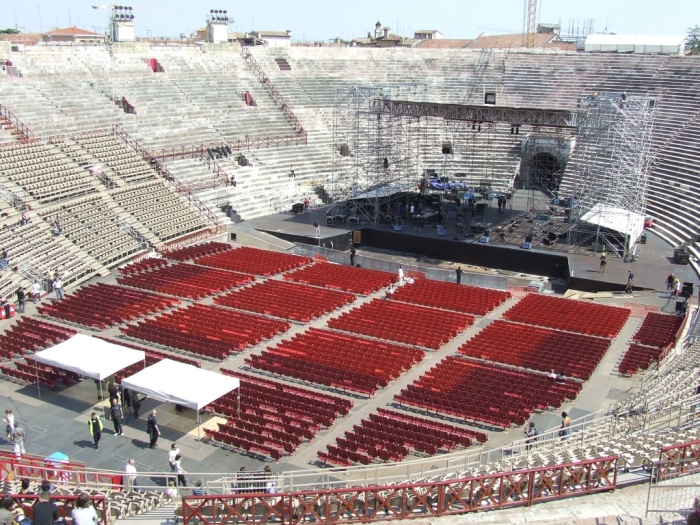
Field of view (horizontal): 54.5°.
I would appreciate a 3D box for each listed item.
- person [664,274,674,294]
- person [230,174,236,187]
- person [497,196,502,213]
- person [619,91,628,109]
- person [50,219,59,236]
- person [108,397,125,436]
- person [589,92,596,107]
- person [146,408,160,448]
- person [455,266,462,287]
[{"bbox_3d":[19.211,1.271,40.498,0.421,1.077,0.917,9,18,23],"label":"person"},{"bbox_3d":[-9.891,-6.880,57.461,0.580,0.784,1.047,-1,16,-9],"label":"person"},{"bbox_3d":[13.183,-4.965,59.196,0.433,1.037,0.925,5,17,11],"label":"person"},{"bbox_3d":[18.983,-11.132,46.974,0.575,1.060,1.029,13,20,33],"label":"person"},{"bbox_3d":[-19.019,-2.202,43.650,0.461,0.968,0.890,-14,22,-40],"label":"person"},{"bbox_3d":[-9.111,5.958,26.493,0.373,1.504,0.621,-6,19,-23],"label":"person"},{"bbox_3d":[17.283,-11.445,47.981,0.500,0.758,0.724,7,17,16],"label":"person"},{"bbox_3d":[-7.577,6.171,26.026,0.454,1.458,1.259,-4,17,-16],"label":"person"},{"bbox_3d":[6.888,0.863,42.808,0.474,0.917,1.203,4,16,9],"label":"person"}]
